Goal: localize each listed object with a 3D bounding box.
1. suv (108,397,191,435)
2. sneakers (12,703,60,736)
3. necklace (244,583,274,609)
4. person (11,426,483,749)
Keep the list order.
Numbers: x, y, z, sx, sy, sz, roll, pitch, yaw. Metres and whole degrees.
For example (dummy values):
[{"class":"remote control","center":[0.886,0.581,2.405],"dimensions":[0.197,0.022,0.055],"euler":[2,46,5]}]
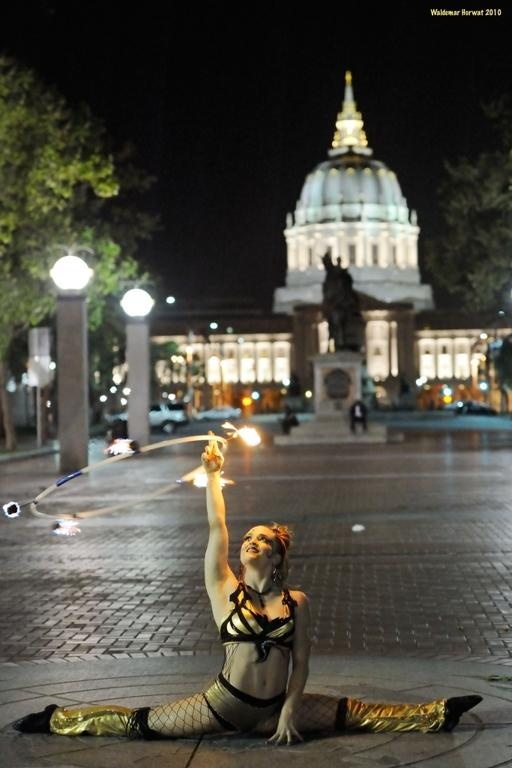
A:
[{"class":"suv","center":[-7.529,2.426,61.206],"dimensions":[5.997,2.886,3.129],"euler":[1,-1,-6]},{"class":"sneakers","center":[-0.977,1.497,3.809],"dimensions":[0.153,0.113,0.061],"euler":[2,-45,-25]},{"class":"necklace","center":[0.015,0.925,3.707],"dimensions":[0.085,0.098,0.110],"euler":[3,-33,-6]},{"class":"person","center":[-0.079,0.936,3.887],"dimensions":[1.850,1.378,0.429],"euler":[4,-23,-10]}]
